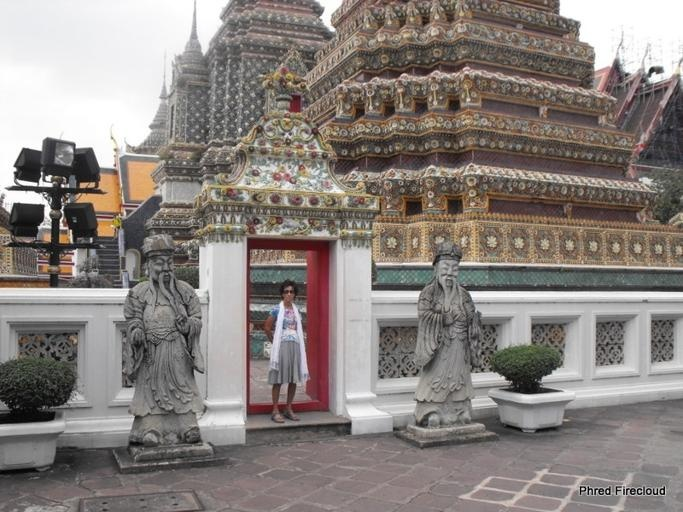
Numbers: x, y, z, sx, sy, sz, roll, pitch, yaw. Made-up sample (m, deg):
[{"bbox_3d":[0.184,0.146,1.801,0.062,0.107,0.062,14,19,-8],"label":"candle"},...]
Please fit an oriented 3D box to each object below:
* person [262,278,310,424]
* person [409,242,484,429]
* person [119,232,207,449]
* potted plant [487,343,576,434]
[{"bbox_3d":[-0.798,1.374,12.210,0.596,2.042,0.574,-2,-4,14],"label":"person"},{"bbox_3d":[1.508,1.109,11.938,0.952,2.634,0.338,-2,-4,4],"label":"person"},{"bbox_3d":[-2.338,1.098,11.073,1.022,2.787,0.268,0,-4,-14],"label":"person"},{"bbox_3d":[2.812,1.952,12.638,1.151,1.241,1.129,-3,-10,-5],"label":"potted plant"}]
